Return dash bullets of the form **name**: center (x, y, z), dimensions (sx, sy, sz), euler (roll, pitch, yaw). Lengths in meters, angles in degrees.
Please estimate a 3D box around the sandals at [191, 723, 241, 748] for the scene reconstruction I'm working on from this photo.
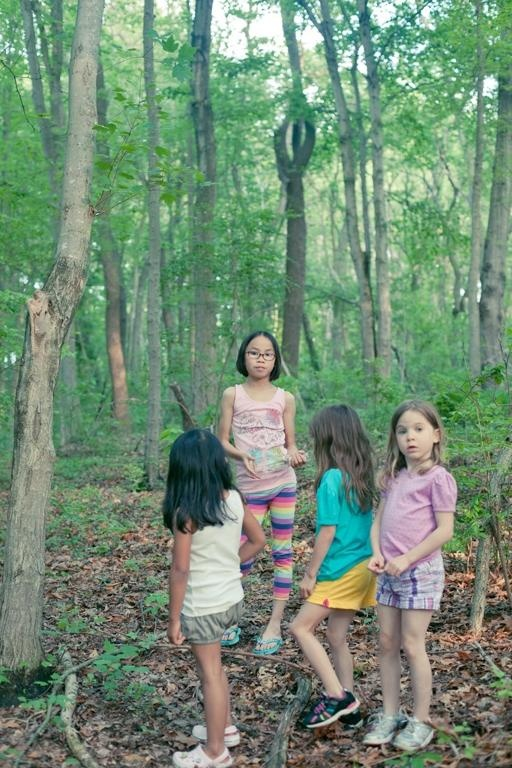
- **sandals**: center (-0.192, 1.795, 4.466), dimensions (0.294, 0.116, 0.103), euler (8, -21, 3)

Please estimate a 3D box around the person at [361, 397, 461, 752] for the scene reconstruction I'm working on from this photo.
- **person**: center (0.733, 0.905, 4.201), dimensions (0.523, 1.684, 0.592), euler (-3, 0, -21)

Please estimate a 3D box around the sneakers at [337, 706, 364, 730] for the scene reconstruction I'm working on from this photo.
- **sneakers**: center (0.487, 1.708, 4.487), dimensions (0.127, 0.116, 0.111), euler (-15, 4, 36)
